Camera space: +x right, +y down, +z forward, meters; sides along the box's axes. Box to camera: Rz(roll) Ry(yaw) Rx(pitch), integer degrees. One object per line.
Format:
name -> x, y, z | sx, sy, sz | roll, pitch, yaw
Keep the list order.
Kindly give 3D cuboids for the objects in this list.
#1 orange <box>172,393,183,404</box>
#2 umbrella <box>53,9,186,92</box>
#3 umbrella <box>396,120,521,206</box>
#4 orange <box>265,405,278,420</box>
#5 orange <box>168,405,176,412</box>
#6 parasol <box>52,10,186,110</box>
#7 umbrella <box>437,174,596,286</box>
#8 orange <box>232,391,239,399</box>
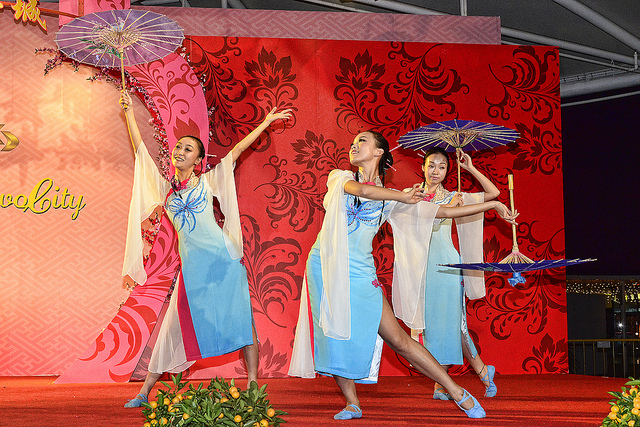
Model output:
orange -> -0.909, 1.180, 3.891 | 0.063, 0.050, 0.045 | 0, 0, -22
umbrella -> -1.723, -1.422, 5.321 | 1.083, 0.456, 0.783 | 0, -1, 3
umbrella -> 1.209, -0.380, 5.392 | 0.990, 0.746, 0.976 | -2, -6, 30
orange -> -0.319, 1.281, 3.967 | 0.075, 0.081, 0.071 | 6, -23, -8
orange -> -0.945, 1.231, 3.874 | 0.039, 0.035, 0.056 | 0, -1, -26
parasol -> -1.740, -1.498, 5.208 | 1.044, 1.007, 0.692 | -1, -2, 26
umbrella -> 1.345, 0.238, 4.660 | 0.725, 0.593, 0.726 | -10, -16, 30
orange -> -0.543, 1.153, 3.902 | 0.038, 0.036, 0.043 | 30, -10, -15
